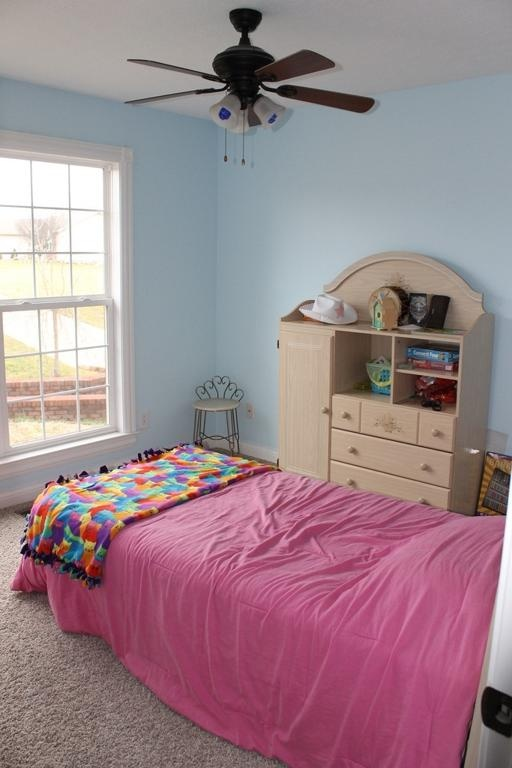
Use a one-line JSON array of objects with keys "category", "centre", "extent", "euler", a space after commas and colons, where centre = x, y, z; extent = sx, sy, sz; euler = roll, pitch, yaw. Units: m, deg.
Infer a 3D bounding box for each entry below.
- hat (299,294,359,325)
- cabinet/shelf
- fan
[{"category": "hat", "centre": [0.414, -0.429, 3.380], "extent": [0.216, 0.095, 0.264], "euler": [12, -4, -33]}, {"category": "cabinet/shelf", "centre": [0.745, 0.010, 3.032], "extent": [1.226, 1.654, 0.432], "euler": [12, 16, 43]}, {"category": "fan", "centre": [-0.013, -1.273, 2.181], "extent": [0.705, 0.261, 0.653], "euler": [-5, 16, -27]}]
